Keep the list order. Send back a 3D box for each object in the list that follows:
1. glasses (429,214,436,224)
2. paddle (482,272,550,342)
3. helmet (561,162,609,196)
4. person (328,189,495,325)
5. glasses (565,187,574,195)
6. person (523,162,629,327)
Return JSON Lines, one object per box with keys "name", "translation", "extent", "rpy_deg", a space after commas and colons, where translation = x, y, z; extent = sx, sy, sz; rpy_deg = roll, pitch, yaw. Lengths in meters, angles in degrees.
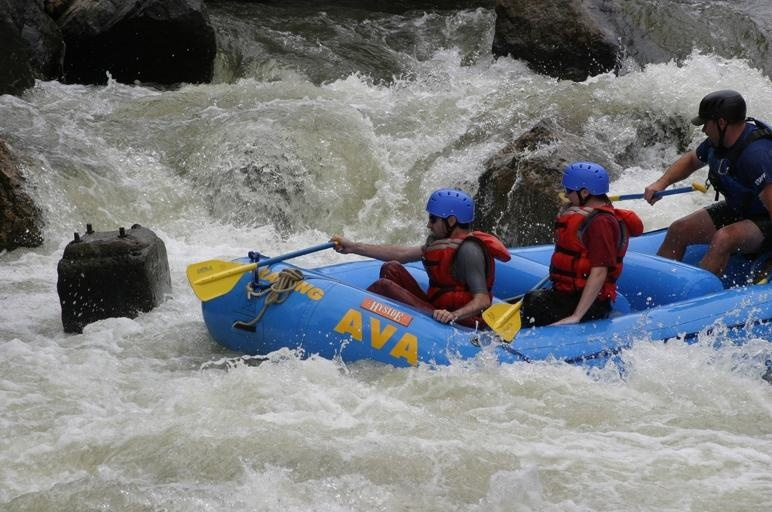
{"name": "glasses", "translation": [0.470, -0.367, 10.763], "extent": [0.062, 0.075, 0.075], "rpy_deg": [9, -3, 23]}
{"name": "paddle", "translation": [1.358, 0.419, 10.650], "extent": [0.367, 0.127, 1.127], "rpy_deg": [37, 50, 16]}
{"name": "helmet", "translation": [1.991, -0.768, 10.805], "extent": [0.419, 0.221, 0.315], "rpy_deg": [2, 9, 2]}
{"name": "person", "translation": [0.489, -0.022, 10.854], "extent": [1.387, 1.309, 0.570], "rpy_deg": [14, 15, 33]}
{"name": "glasses", "translation": [1.837, -0.646, 10.808], "extent": [0.055, 0.044, 0.045], "rpy_deg": [-14, 32, -22]}
{"name": "person", "translation": [1.908, -0.065, 10.711], "extent": [0.910, 1.652, 0.577], "rpy_deg": [9, 13, 11]}
